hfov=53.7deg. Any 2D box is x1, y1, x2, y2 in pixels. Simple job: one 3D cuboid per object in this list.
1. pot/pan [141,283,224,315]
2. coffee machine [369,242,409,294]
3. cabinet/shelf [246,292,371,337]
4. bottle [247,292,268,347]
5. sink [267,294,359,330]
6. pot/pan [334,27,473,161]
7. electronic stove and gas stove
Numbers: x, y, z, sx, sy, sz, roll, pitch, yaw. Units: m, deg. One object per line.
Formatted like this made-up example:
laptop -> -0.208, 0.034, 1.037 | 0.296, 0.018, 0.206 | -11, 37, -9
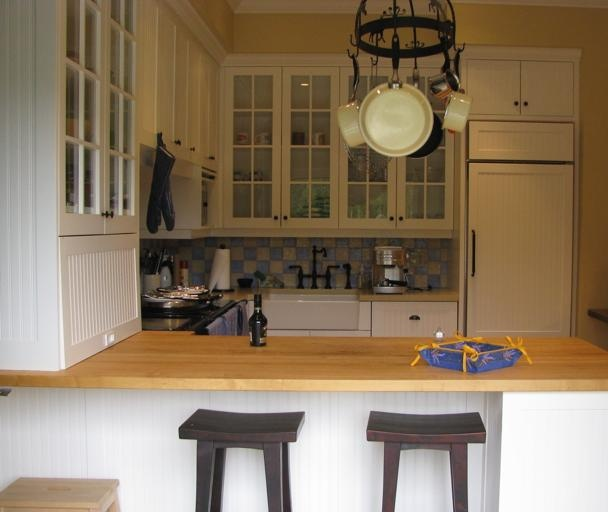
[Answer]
pot/pan -> -0.660, 0.242, 3.428 | 0.448, 0.122, 0.721 | 1, 1, 5
coffee machine -> 0.636, 0.091, 4.346 | 0.211, 0.358, 0.202 | 3, 6, 5
cabinet/shelf -> 0.056, 0.462, 4.494 | 0.964, 0.399, 0.536 | 0, -2, 4
bottle -> -0.187, 0.264, 2.472 | 0.075, 0.224, 0.287 | 3, -8, -3
sink -> 0.052, 0.352, 4.454 | 0.561, 0.259, 0.385 | 4, 8, -1
pot/pan -> 0.382, -0.568, 2.295 | 0.537, 0.454, 0.399 | 3, 7, 2
electronic stove and gas stove -> -0.592, 0.309, 3.150 | 0.494, 0.186, 0.538 | 7, -9, -20
